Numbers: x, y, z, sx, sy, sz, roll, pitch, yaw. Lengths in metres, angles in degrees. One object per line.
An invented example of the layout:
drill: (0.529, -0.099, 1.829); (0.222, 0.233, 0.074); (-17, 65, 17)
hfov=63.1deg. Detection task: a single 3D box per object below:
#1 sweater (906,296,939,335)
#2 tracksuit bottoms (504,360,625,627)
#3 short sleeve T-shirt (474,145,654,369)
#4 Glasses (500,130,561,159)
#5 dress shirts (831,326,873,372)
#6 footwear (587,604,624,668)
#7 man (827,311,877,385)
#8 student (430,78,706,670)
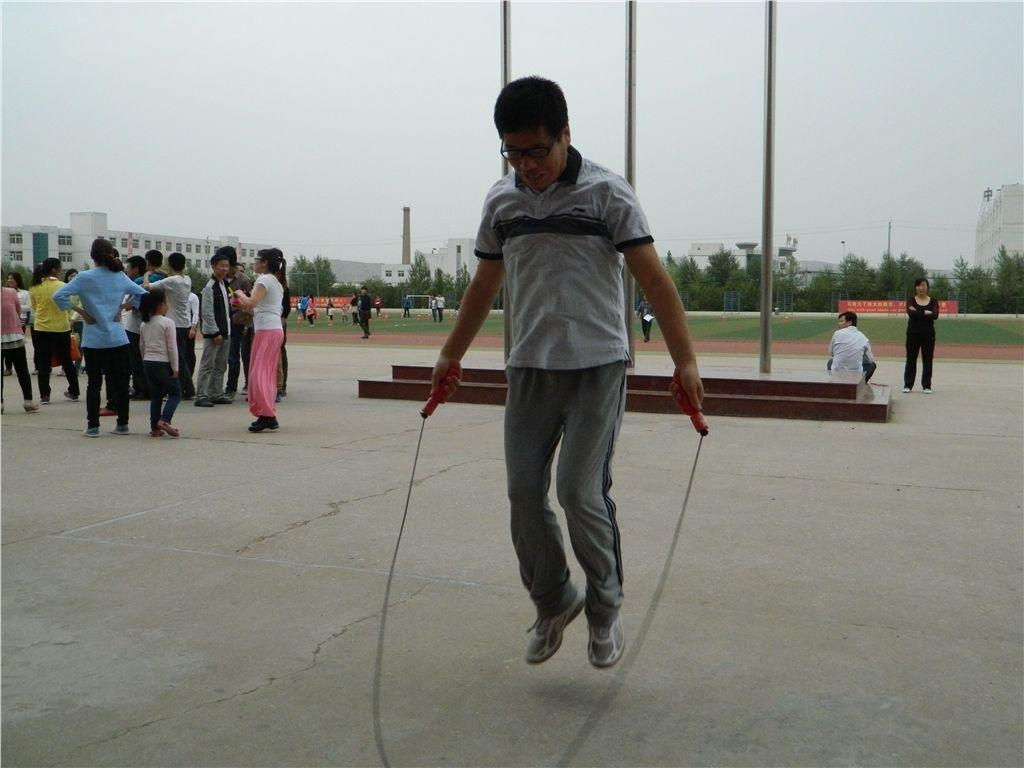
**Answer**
sweater: (6.336, -1.077, 12.884); (0.436, 0.559, 0.556); (4, 8, 25)
tracksuit bottoms: (0.229, 0.482, 3.733); (0.634, 1.069, 0.535); (11, 18, -33)
short sleeve T-shirt: (0.221, -0.562, 3.685); (0.754, 0.951, 0.344); (1, 7, 2)
Glasses: (0.074, -1.009, 3.528); (0.265, 0.120, 0.162); (2, 8, 8)
dress shirts: (4.857, -0.516, 11.981); (0.473, 0.551, 0.634); (3, 8, 21)
footwear: (0.421, 1.135, 3.779); (0.104, 0.207, 0.287); (-15, -1, 14)
man: (4.948, -0.400, 12.197); (0.632, 1.343, 0.689); (-2, 2, -30)
student: (0.201, -0.036, 3.635); (1.116, 2.479, 0.771); (-2, -2, 19)
